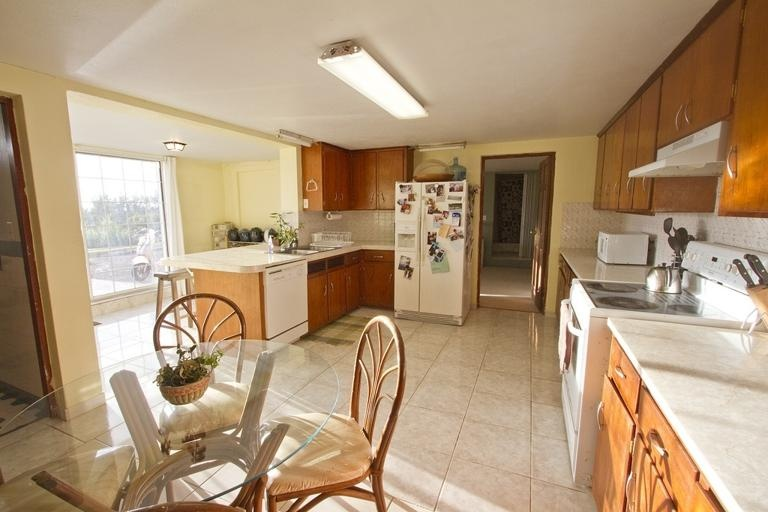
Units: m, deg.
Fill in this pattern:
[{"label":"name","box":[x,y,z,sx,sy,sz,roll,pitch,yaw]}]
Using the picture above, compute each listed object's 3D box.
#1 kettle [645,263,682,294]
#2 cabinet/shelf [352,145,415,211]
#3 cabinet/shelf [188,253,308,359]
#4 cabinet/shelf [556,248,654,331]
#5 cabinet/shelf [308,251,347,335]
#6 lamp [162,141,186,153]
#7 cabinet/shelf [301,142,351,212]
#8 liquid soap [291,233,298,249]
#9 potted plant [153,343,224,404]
[{"label":"kettle","box":[2.158,0.180,3.712,0.254,0.194,0.194,2,-1,-39]},{"label":"cabinet/shelf","box":[0.026,-1.088,6.500,0.871,0.815,0.346,3,5,28]},{"label":"cabinet/shelf","box":[-1.391,0.347,5.242,0.891,1.083,1.148,1,7,15]},{"label":"cabinet/shelf","box":[2.113,0.390,4.700,0.550,0.684,1.000,4,14,14]},{"label":"cabinet/shelf","box":[-0.697,0.426,5.795,0.354,0.780,0.904,0,5,18]},{"label":"lamp","box":[-2.761,-1.447,6.329,0.171,0.078,0.206,3,-4,-44]},{"label":"cabinet/shelf","box":[-0.780,-1.053,6.282,0.317,0.758,0.815,2,6,16]},{"label":"liquid soap","box":[-1.135,-0.200,6.178,0.050,0.158,0.198,1,9,12]},{"label":"potted plant","box":[-1.252,0.695,3.098,0.334,0.261,0.362,0,0,-42]}]
